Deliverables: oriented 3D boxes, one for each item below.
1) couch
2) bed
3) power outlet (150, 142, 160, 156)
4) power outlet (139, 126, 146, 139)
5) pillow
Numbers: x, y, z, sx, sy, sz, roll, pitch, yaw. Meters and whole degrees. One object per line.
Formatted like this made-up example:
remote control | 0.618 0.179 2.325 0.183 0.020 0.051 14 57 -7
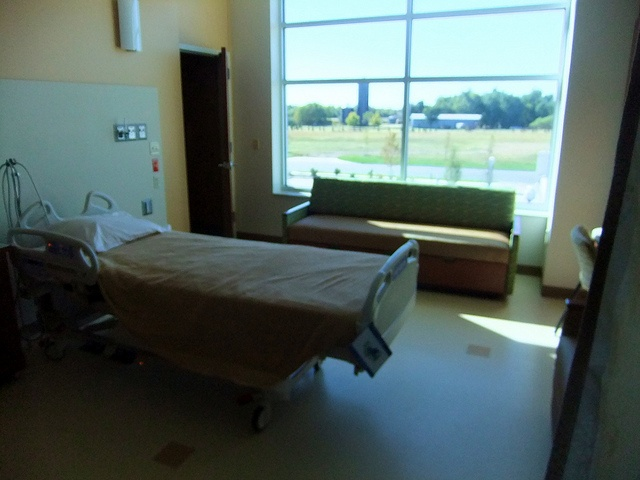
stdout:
couch | 0.838 -0.078 5.200 2.371 1.057 0.868 5 12 21
bed | -0.767 0.665 3.681 2.718 1.245 1.467 9 20 18
power outlet | -1.638 -0.905 4.791 0.016 0.124 0.121 8 15 23
power outlet | -1.700 -1.044 4.660 0.013 0.142 0.090 8 15 23
pillow | -1.647 -0.082 3.830 0.387 0.105 0.449 25 19 15
